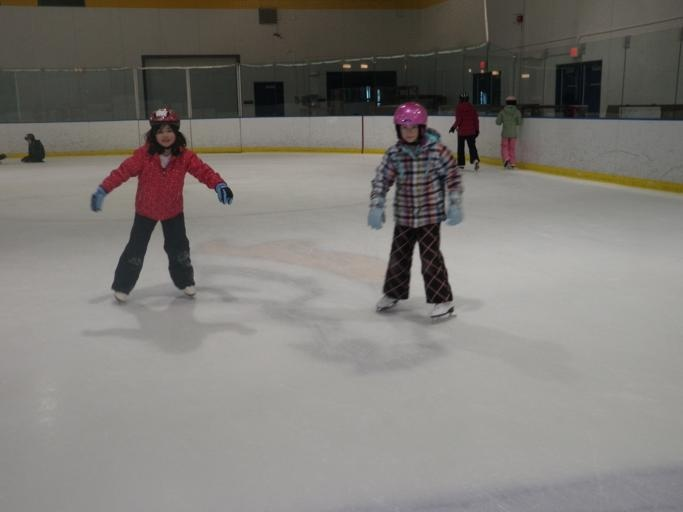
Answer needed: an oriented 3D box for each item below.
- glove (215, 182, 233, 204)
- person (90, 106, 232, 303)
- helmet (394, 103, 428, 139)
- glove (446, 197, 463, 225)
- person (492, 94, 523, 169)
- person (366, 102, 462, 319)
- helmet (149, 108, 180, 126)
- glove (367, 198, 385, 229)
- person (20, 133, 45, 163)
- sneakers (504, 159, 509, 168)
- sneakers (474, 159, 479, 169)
[{"bbox_3d":[-0.843,-0.432,3.883,0.138,0.080,0.174,8,28,-26],"label":"glove"},{"bbox_3d":[-1.318,-0.326,3.950,0.923,1.432,0.469,-5,18,-13],"label":"person"},{"bbox_3d":[0.445,-0.863,3.459,0.184,0.236,0.239,1,18,12],"label":"helmet"},{"bbox_3d":[0.748,-0.283,3.571,0.101,0.225,0.278,3,19,11],"label":"glove"},{"bbox_3d":[3.554,-2.623,11.555,0.598,1.471,0.441,-2,18,-5],"label":"person"},{"bbox_3d":[0.494,-0.261,3.604,0.608,1.452,0.437,3,18,10],"label":"person"},{"bbox_3d":[-1.252,-0.960,3.828,0.224,0.141,0.324,-4,7,-12],"label":"helmet"},{"bbox_3d":[0.230,-0.269,3.549,0.117,0.188,0.188,1,3,2],"label":"glove"},{"bbox_3d":[-8.116,-2.803,14.134,0.500,0.733,0.312,-9,20,-23],"label":"person"},{"bbox_3d":[3.539,-1.986,11.572,0.113,0.183,0.136,0,2,-11],"label":"sneakers"},{"bbox_3d":[2.896,-1.934,11.547,0.108,0.213,0.236,5,19,15],"label":"sneakers"}]
